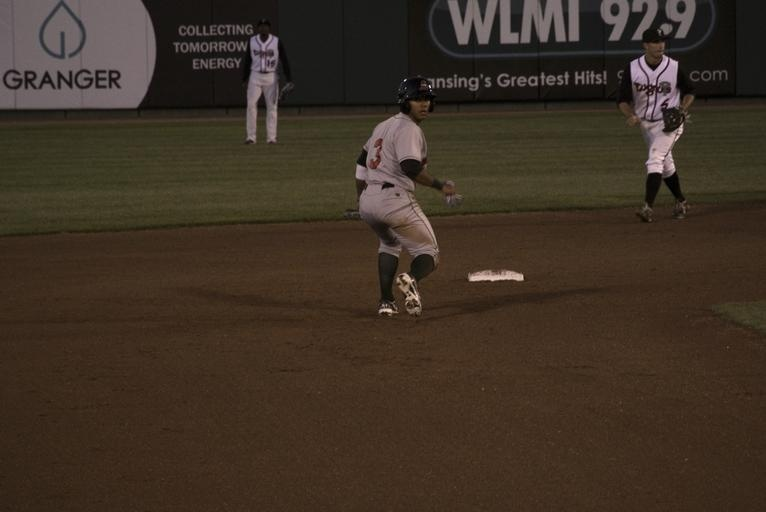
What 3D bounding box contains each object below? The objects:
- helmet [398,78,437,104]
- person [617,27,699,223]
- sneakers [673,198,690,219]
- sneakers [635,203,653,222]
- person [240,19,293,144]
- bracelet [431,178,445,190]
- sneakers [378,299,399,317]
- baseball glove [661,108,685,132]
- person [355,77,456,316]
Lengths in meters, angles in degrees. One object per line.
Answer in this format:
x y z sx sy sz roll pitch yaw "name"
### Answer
0.351 -1.712 10.884 0.344 0.280 0.266 7 8 13 "helmet"
3.685 -1.736 14.169 0.963 2.614 1.328 3 16 15 "person"
4.120 -0.634 14.433 0.128 0.148 0.357 -6 19 29 "sneakers"
3.541 -0.565 14.138 0.179 0.289 0.296 -2 0 7 "sneakers"
-2.301 -3.371 20.544 0.974 2.460 1.022 -3 15 -7 "person"
0.573 -0.743 10.766 0.119 0.124 0.108 32 -17 -38 "bracelet"
0.050 0.557 11.005 0.105 0.112 0.252 2 12 7 "sneakers"
3.876 -1.806 13.934 0.311 0.336 0.180 3 16 14 "baseball glove"
0.201 -0.614 10.985 0.891 2.443 1.037 -5 15 -14 "person"
